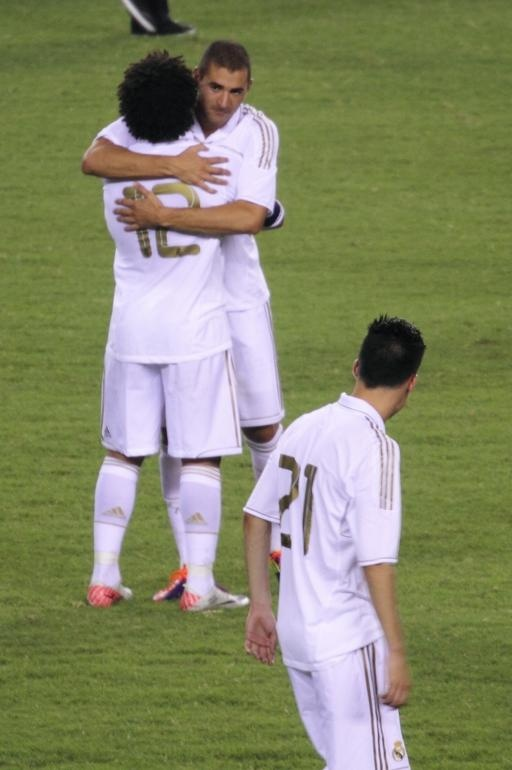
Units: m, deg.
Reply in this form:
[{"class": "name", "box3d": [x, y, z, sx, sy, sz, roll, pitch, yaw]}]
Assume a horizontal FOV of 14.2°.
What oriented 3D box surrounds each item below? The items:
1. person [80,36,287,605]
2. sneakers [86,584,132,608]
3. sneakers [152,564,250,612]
[{"class": "person", "box3d": [-0.346, -0.205, 8.271, 0.729, 2.134, 0.619, 1, 22, -6]}, {"class": "sneakers", "box3d": [-0.594, 0.845, 8.395, 0.089, 0.058, 0.136, 14, 8, 40]}, {"class": "sneakers", "box3d": [-0.219, 0.786, 8.392, 0.257, 0.106, 0.212, -2, 5, -19]}]
